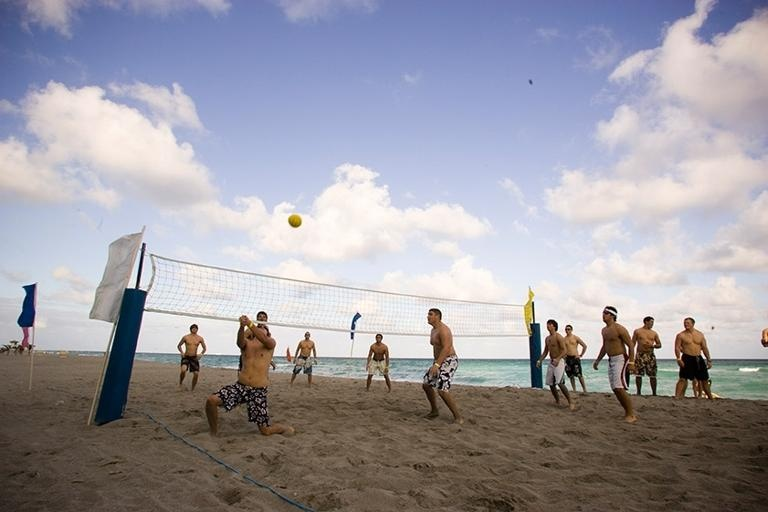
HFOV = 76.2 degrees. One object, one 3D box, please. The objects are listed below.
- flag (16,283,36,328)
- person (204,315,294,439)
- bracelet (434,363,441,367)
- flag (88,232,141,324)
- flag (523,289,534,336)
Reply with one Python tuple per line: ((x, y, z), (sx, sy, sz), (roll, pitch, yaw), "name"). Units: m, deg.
((-7.140, 1.006, 9.755), (0.246, 0.835, 0.473), (0, 1, -32), "flag")
((-1.894, 1.681, 6.877), (1.148, 1.772, 0.595), (0, 1, -18), "person")
((0.820, 1.701, 7.593), (0.093, 0.077, 0.115), (0, 1, 7), "bracelet")
((-4.049, 0.315, 7.371), (0.664, 1.336, 0.450), (0, 1, -19), "flag")
((3.217, 1.226, 10.906), (0.212, 1.100, 1.230), (1, 1, 16), "flag")
